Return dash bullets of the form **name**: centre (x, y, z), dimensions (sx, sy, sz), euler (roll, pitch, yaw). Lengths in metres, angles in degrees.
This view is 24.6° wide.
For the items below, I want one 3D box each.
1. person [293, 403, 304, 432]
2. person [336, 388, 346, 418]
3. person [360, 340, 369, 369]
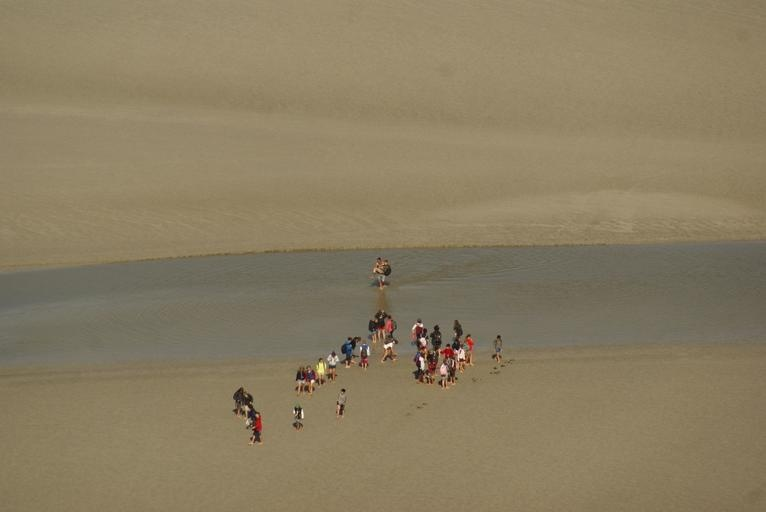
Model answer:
- **person**: centre (-3.776, 7.255, 78.827), dimensions (0.506, 1.037, 0.874), euler (3, 9, -4)
- **person**: centre (-1.864, 6.673, 79.414), dimensions (0.434, 1.191, 1.021), euler (3, 9, -1)
- **person**: centre (-0.839, 4.619, 82.365), dimensions (0.441, 1.202, 1.056), euler (3, 9, 0)
